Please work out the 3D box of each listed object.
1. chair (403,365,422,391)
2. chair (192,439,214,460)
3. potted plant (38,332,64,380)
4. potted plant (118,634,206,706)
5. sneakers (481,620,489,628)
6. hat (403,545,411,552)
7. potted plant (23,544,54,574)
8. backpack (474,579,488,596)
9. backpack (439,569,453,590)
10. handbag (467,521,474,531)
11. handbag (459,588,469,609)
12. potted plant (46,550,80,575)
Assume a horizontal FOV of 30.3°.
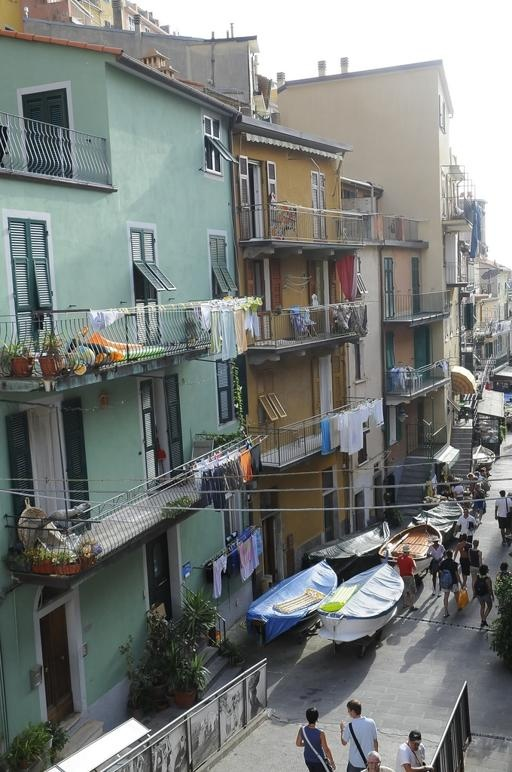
[{"bbox_3d":[5.888,-0.210,35.654,0.342,0.662,1.759,2,1,18],"label":"chair"},{"bbox_3d":[-1.196,1.403,20.904,0.372,0.442,0.755,2,3,6],"label":"chair"},{"bbox_3d":[-3.038,-0.406,13.983,0.374,0.667,0.301,1,1,-14],"label":"potted plant"},{"bbox_3d":[-1.702,5.467,17.679,1.206,1.022,1.213,5,-4,-36],"label":"potted plant"},{"bbox_3d":[5.332,5.658,22.128,0.128,0.270,0.098,9,-18,-19],"label":"sneakers"},{"bbox_3d":[4.259,4.636,26.778,0.164,0.260,0.251,6,32,13],"label":"hat"},{"bbox_3d":[-3.285,2.671,14.518,0.441,0.547,0.359,3,12,9],"label":"potted plant"},{"bbox_3d":[5.244,4.751,22.170,0.215,0.406,0.461,1,1,-18],"label":"backpack"},{"bbox_3d":[4.756,4.850,23.635,0.439,0.729,0.368,-2,-12,10],"label":"backpack"},{"bbox_3d":[6.391,4.205,28.303,0.036,0.197,0.259,3,4,44],"label":"handbag"},{"bbox_3d":[5.203,5.385,23.782,0.122,0.422,0.408,-8,11,28],"label":"handbag"},{"bbox_3d":[-3.036,2.707,14.601,0.339,0.279,0.361,-4,-4,44],"label":"potted plant"}]
